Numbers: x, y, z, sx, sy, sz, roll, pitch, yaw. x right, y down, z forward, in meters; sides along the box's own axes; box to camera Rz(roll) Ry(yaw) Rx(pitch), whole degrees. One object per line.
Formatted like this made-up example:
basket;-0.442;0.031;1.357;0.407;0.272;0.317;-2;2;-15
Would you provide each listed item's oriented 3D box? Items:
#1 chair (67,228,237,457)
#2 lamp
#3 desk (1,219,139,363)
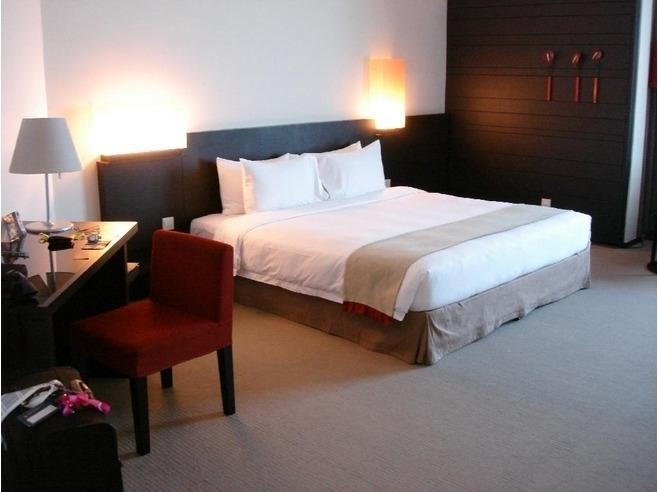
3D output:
chair;-0.909;0.507;2.544;0.768;1.178;0.757;15;18;40
lamp;-1.745;-0.433;3.030;0.389;0.682;0.313;2;14;24
desk;-1.279;0.232;2.457;0.349;0.440;0.704;5;17;9
